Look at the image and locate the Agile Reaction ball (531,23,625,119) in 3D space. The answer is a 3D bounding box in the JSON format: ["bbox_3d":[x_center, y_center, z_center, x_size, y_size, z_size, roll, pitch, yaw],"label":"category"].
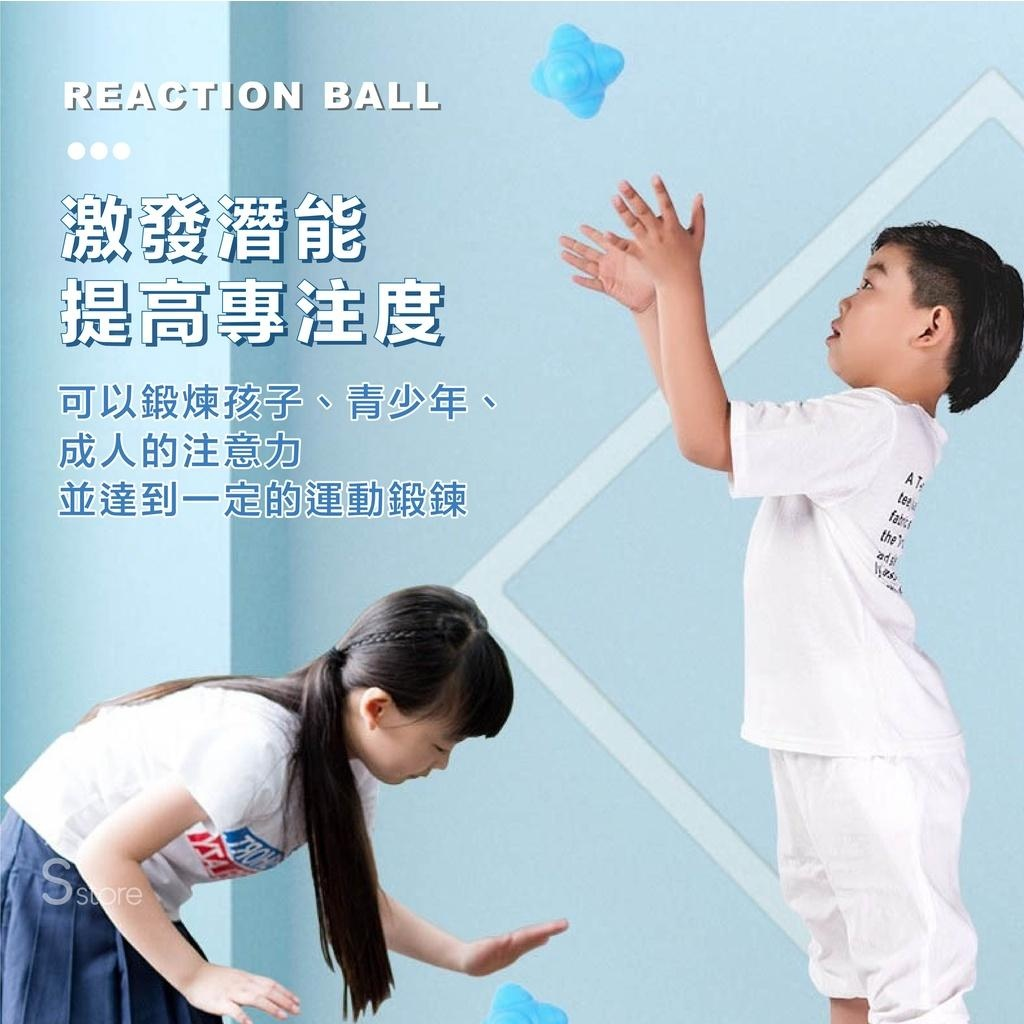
[{"bbox_3d":[0.104,-0.698,2.027,0.160,0.078,0.173,-9,-5,-1],"label":"Agile Reaction ball"}]

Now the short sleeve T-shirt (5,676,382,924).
[{"bbox_3d":[-0.396,0.355,1.487,0.283,0.157,0.268,-21,57,-9],"label":"short sleeve T-shirt"}]

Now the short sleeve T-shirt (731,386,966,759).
[{"bbox_3d":[0.420,0.088,1.794,0.336,0.624,0.481,1,-3,11],"label":"short sleeve T-shirt"}]
